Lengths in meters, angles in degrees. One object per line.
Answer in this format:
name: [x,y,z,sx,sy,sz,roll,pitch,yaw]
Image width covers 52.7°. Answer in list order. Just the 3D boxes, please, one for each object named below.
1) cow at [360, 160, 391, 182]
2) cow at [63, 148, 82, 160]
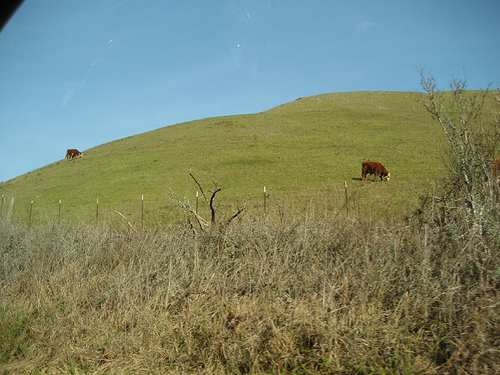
cow: [7.780,-1.069,30.912,1.641,1.139,2.485,-5,9,16]
cow: [-18.329,-3.447,51.585,1.375,0.941,3.008,-9,9,-16]
